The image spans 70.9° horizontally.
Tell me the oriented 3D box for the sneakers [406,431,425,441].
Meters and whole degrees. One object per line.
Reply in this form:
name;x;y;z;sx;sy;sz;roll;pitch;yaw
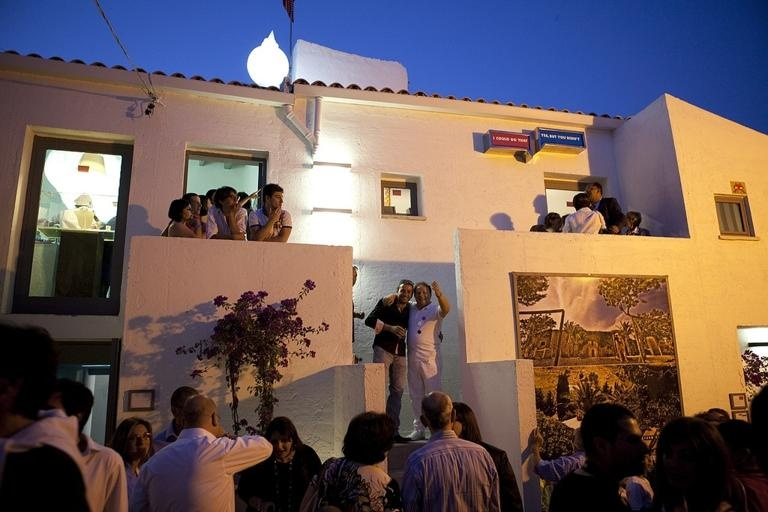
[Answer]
sneakers;0.457;2.502;7.495;0.270;0.167;0.095;5;-13;-13

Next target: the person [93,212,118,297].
person;-4.397;0.009;8.630;0.233;1.297;0.088;1;-7;12

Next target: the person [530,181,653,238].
person;3.499;-0.718;9.047;1.646;0.868;0.807;4;-7;-23

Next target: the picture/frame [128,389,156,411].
picture/frame;-2.870;1.713;6.397;0.270;0.231;0.038;0;-15;-10

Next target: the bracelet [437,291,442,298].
bracelet;0.791;0.548;7.625;0.065;0.072;0.074;-2;-2;0

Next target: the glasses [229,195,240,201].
glasses;-2.033;-0.807;7.357;0.148;0.079;0.198;1;-5;-12

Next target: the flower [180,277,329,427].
flower;-1.587;1.193;6.430;1.727;1.730;0.635;1;-7;-16

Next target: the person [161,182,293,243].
person;-2.077;-0.573;7.445;1.581;0.823;0.883;3;-6;-10
